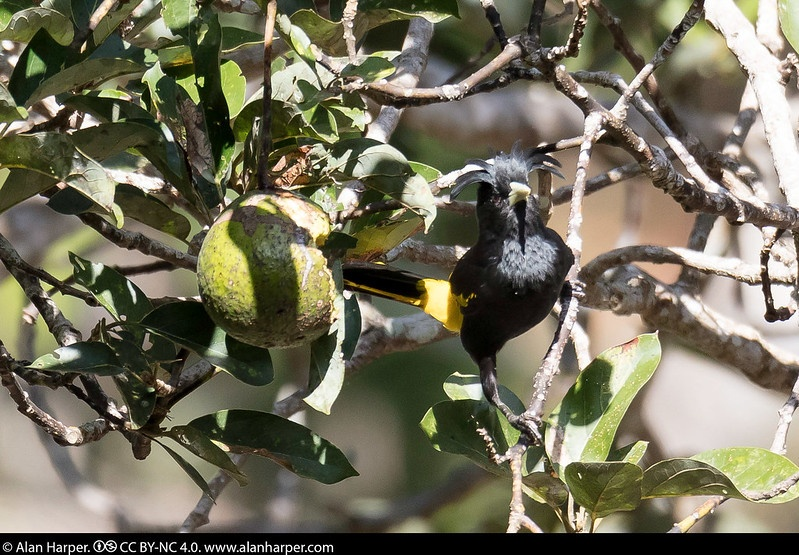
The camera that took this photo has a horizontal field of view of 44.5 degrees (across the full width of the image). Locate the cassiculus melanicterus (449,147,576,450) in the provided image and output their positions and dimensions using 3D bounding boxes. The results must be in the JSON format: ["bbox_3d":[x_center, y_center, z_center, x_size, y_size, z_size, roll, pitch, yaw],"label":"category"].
[{"bbox_3d":[0.191,0.023,1.733,0.209,0.373,0.182,3,1,34],"label":"cassiculus melanicterus"}]

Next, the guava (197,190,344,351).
[{"bbox_3d":[-0.211,-0.005,1.635,0.251,0.284,0.256,0,-19,-1],"label":"guava"}]
